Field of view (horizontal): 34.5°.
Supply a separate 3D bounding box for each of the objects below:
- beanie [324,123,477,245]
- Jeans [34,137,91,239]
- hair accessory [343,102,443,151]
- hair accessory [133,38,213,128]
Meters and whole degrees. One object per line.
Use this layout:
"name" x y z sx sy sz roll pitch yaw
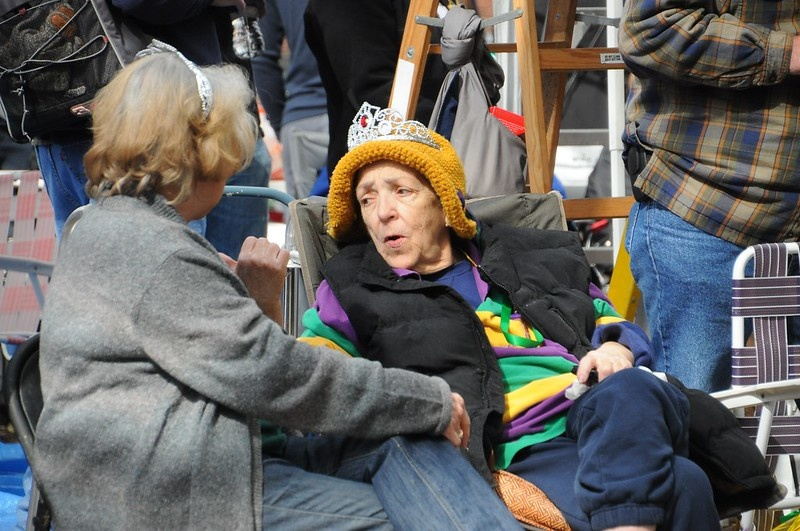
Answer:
"beanie" -0.022 -0.367 6.089 0.506 0.592 0.400 -6 43 11
"Jeans" -1.652 -0.350 6.358 0.194 0.600 0.265 -11 12 -5
"hair accessory" -0.018 -0.645 6.067 0.419 0.200 0.181 9 -5 18
"hair accessory" -0.891 -0.704 5.089 0.149 0.344 0.269 -40 -3 32
